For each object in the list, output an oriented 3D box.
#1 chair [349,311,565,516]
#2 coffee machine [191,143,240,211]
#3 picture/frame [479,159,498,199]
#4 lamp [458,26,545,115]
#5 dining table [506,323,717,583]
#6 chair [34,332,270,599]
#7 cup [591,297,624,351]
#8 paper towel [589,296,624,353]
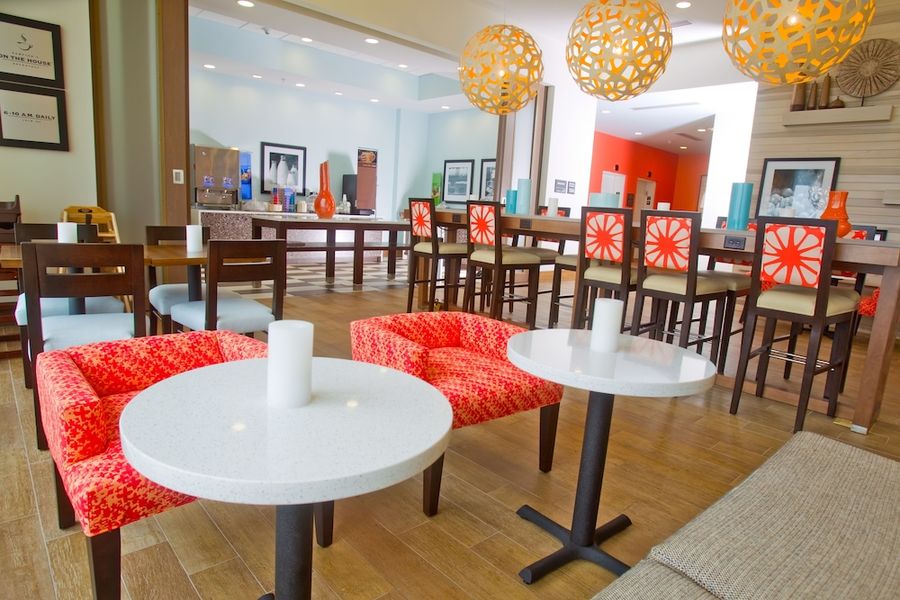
[{"bbox_3d":[-0.016,0.513,3.256,0.959,0.763,0.936,-6,12,-42],"label":"chair"},{"bbox_3d":[-3.551,-1.805,8.878,0.513,0.860,0.694,19,19,40],"label":"coffee machine"},{"bbox_3d":[0.695,-2.181,10.841,0.125,0.715,0.420,-4,14,-27],"label":"picture/frame"},{"bbox_3d":[0.398,-1.787,4.758,0.626,0.613,0.622,14,6,30],"label":"lamp"},{"bbox_3d":[0.691,0.782,2.702,0.714,0.768,0.779,20,13,38],"label":"dining table"},{"bbox_3d":[-1.368,0.536,2.740,1.108,1.036,1.044,-7,12,-44],"label":"chair"},{"bbox_3d":[0.712,0.111,2.707,0.127,0.235,0.133,3,12,-1],"label":"cup"},{"bbox_3d":[0.722,0.108,2.742,0.153,0.230,0.157,15,-14,30],"label":"paper towel"}]
